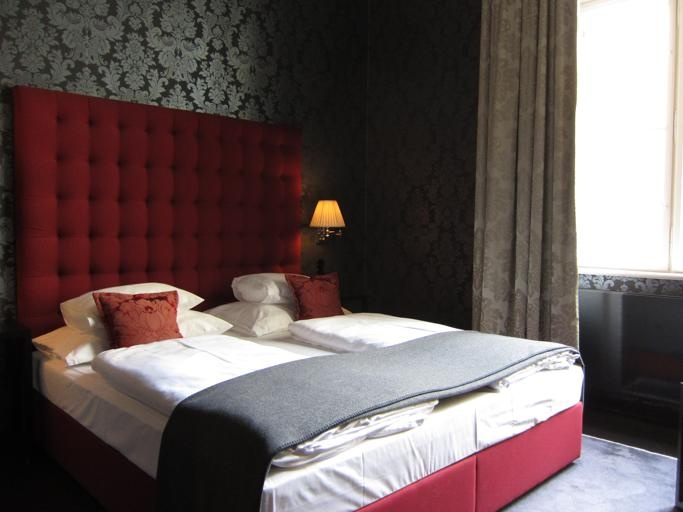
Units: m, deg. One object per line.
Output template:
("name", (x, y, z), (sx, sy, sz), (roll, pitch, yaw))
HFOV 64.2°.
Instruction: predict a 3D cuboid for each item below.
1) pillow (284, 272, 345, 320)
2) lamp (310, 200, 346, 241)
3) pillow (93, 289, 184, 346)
("pillow", (-0.207, 0.279, 3.992), (0.359, 0.346, 0.112), (2, -24, -43))
("lamp", (-0.120, -0.251, 4.634), (0.307, 0.340, 0.296), (6, -14, -12))
("pillow", (-1.162, 0.413, 3.319), (0.383, 0.120, 0.416), (13, -38, -7))
